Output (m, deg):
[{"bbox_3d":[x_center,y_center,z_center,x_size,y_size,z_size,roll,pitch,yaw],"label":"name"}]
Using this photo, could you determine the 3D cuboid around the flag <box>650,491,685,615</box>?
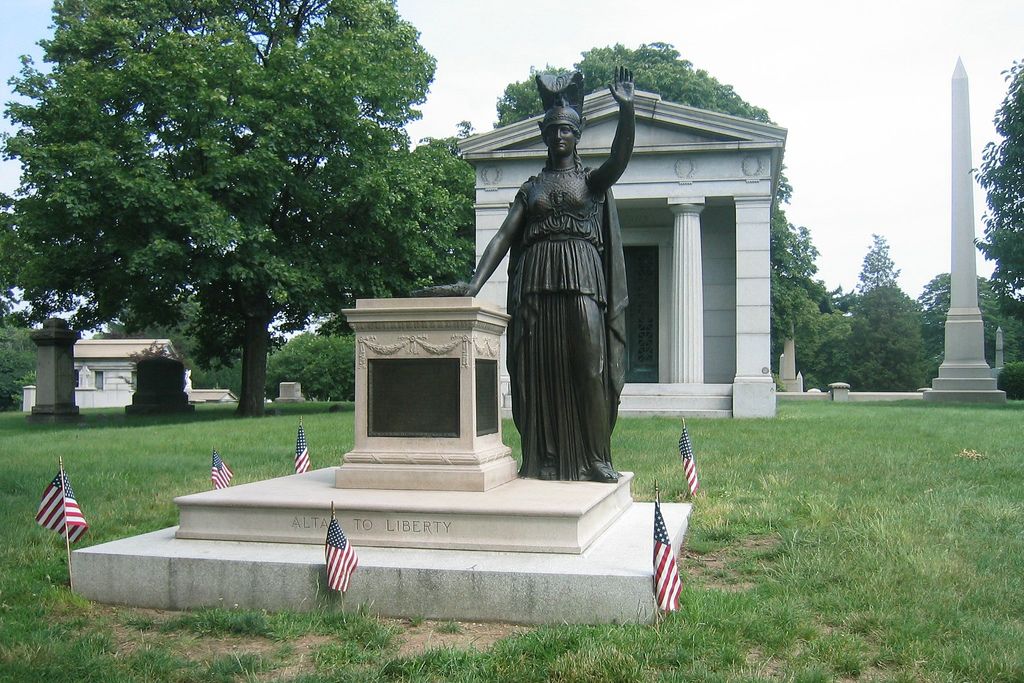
[{"bbox_3d":[2.612,3.714,21.637,0.452,1.850,0.601,0,15,5],"label":"flag"}]

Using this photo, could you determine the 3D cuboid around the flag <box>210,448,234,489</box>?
[{"bbox_3d":[-5.663,2.567,25.114,0.318,0.909,1.133,-4,15,-12],"label":"flag"}]

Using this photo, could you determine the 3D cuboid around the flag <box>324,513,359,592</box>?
[{"bbox_3d":[-2.898,3.689,21.908,0.549,1.352,0.363,-2,15,-5],"label":"flag"}]

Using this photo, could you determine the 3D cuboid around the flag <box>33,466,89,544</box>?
[{"bbox_3d":[-8.048,2.995,22.924,0.768,1.502,0.906,-7,16,-22],"label":"flag"}]
